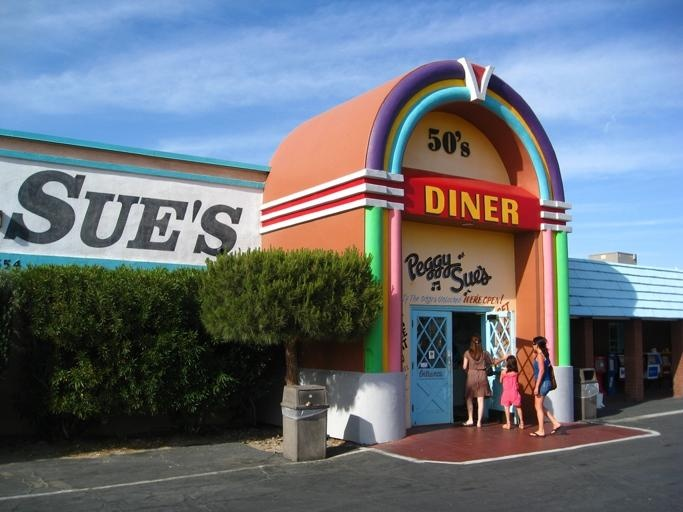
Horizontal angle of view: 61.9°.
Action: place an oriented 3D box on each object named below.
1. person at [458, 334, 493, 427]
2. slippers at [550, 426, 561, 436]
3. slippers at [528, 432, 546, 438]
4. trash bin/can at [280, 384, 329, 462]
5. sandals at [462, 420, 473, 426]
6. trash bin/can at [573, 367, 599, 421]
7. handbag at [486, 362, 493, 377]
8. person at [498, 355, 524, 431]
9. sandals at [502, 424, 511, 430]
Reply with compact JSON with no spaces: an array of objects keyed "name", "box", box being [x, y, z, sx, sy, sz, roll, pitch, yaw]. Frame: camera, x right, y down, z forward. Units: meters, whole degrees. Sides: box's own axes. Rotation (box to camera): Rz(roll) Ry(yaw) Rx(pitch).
[{"name":"person","box":[3.425,3.153,14.297,0.719,2.207,0.516,2,-11,-5]},{"name":"slippers","box":[5.099,4.132,13.429,0.156,0.222,0.541,-12,-25,38]},{"name":"slippers","box":[4.448,4.073,13.014,0.373,0.086,0.307,-10,-16,39]},{"name":"trash bin/can","box":[-0.694,3.323,11.420,0.897,1.364,0.993,1,-6,-4]},{"name":"sandals","box":[3.143,4.189,14.252,0.126,0.122,0.269,4,-3,-22]},{"name":"trash bin/can","box":[6.694,3.800,15.703,0.673,1.297,0.771,-1,-9,7]},{"name":"handbag","box":[3.827,2.981,14.742,0.243,0.382,0.107,-3,12,-2]},{"name":"person","box":[4.229,3.381,14.148,0.494,1.759,1.598,-2,-12,17]},{"name":"sandals","box":[3.994,4.137,13.771,0.188,0.093,0.129,1,-8,-2]}]
